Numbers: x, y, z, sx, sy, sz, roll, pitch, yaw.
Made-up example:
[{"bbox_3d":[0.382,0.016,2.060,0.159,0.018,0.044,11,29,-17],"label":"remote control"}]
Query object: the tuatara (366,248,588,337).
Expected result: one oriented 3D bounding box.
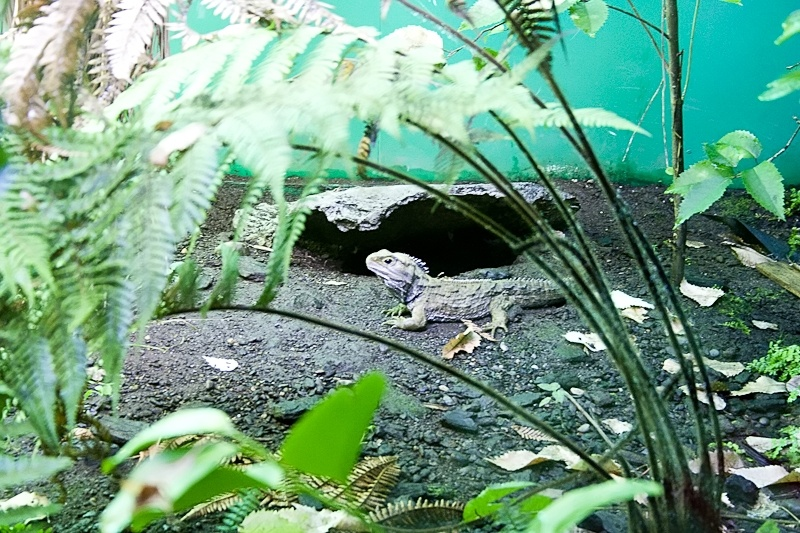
[{"bbox_3d":[0.329,0.147,3.379,0.954,0.246,0.415,0,5,6],"label":"tuatara"}]
